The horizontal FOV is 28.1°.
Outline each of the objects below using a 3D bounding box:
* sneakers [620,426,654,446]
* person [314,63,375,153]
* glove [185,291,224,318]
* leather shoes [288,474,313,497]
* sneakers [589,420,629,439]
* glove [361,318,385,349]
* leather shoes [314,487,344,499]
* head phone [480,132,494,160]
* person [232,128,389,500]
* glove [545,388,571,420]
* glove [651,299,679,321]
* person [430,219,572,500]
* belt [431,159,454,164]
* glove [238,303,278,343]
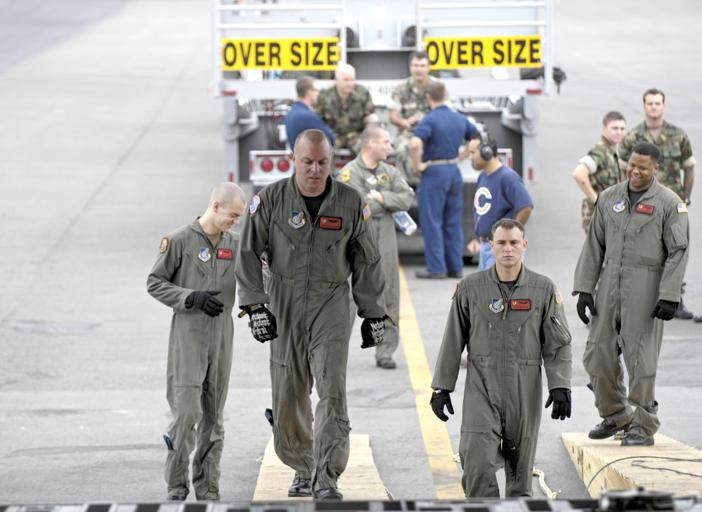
[{"bbox_3d":[3.209,2.026,15.744,0.364,0.170,0.180,2,1,-11],"label":"sneakers"},{"bbox_3d":[-0.117,-2.195,21.152,1.046,1.424,0.916,3,-8,-22],"label":"person"},{"bbox_3d":[-1.526,0.493,14.864,0.391,0.280,0.334,1,11,14],"label":"glove"},{"bbox_3d":[-0.543,2.495,15.228,0.182,0.181,0.420,2,-5,-3],"label":"leather shoes"},{"bbox_3d":[2.914,1.977,16.009,0.481,0.230,0.187,0,12,0],"label":"sneakers"},{"bbox_3d":[0.179,0.811,15.168,0.257,0.313,0.295,2,12,22],"label":"glove"},{"bbox_3d":[-0.247,2.490,14.698,0.258,0.112,0.126,-4,-2,27],"label":"leather shoes"},{"bbox_3d":[1.621,-1.311,16.823,0.113,0.257,0.283,-6,-11,3],"label":"head phone"},{"bbox_3d":[-0.419,0.642,14.921,1.536,3.932,0.755,-3,10,-5],"label":"person"},{"bbox_3d":[2.173,1.550,14.972,0.336,0.336,0.133,-7,16,-26],"label":"glove"},{"bbox_3d":[3.497,0.575,15.721,0.236,0.108,0.233,13,34,-10],"label":"glove"},{"bbox_3d":[1.601,1.103,14.870,1.439,2.893,0.861,-1,10,7],"label":"person"},{"bbox_3d":[1.384,-1.415,20.988,0.364,0.094,0.112,-4,11,-13],"label":"belt"},{"bbox_3d":[-0.960,0.663,14.805,0.354,0.431,0.212,0,18,32],"label":"glove"}]
